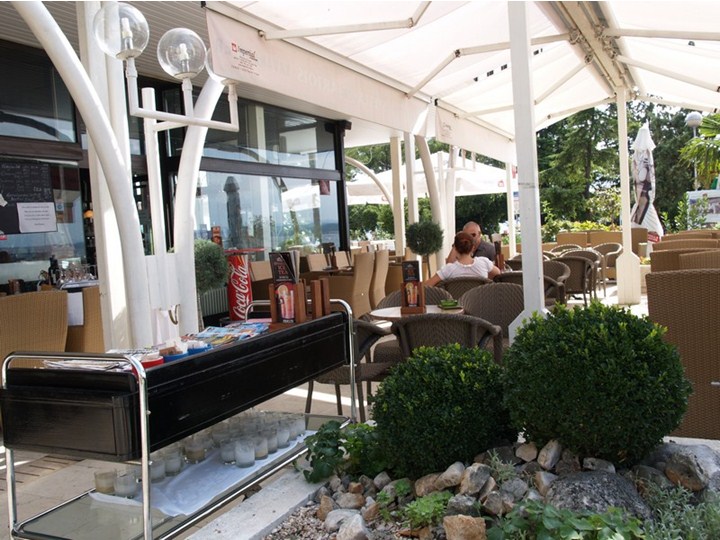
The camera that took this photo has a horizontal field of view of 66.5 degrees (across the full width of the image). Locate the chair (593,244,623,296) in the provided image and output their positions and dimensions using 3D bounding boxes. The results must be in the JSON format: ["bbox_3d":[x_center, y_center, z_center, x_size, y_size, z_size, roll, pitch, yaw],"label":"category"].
[{"bbox_3d":[4.850,-0.013,10.836,0.557,0.771,0.616,8,-3,-4],"label":"chair"}]

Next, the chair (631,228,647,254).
[{"bbox_3d":[6.470,-0.693,12.690,0.311,0.570,1.734,-2,5,27],"label":"chair"}]

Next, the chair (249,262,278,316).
[{"bbox_3d":[-1.082,0.194,5.986,0.309,0.596,0.594,0,3,-1],"label":"chair"}]

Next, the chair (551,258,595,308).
[{"bbox_3d":[3.056,0.163,7.872,0.457,0.619,0.470,0,7,11],"label":"chair"}]

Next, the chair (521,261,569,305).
[{"bbox_3d":[1.660,0.117,4.914,0.449,0.512,0.462,-1,-2,30],"label":"chair"}]

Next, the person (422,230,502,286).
[{"bbox_3d":[1.239,-0.143,6.891,0.878,1.196,0.371,0,15,3],"label":"person"}]

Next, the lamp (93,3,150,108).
[{"bbox_3d":[-1.213,-1.094,2.816,0.258,0.524,0.182,-2,4,25],"label":"lamp"}]

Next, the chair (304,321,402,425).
[{"bbox_3d":[-0.122,0.724,4.046,0.607,0.794,0.573,0,6,14],"label":"chair"}]

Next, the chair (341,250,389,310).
[{"bbox_3d":[0.100,0.170,8.038,0.290,0.554,0.918,3,5,15],"label":"chair"}]

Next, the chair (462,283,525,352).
[{"bbox_3d":[1.063,0.347,4.556,0.479,0.607,0.453,1,9,16],"label":"chair"}]

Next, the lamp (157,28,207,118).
[{"bbox_3d":[-0.971,-1.055,3.044,0.253,0.535,0.247,-16,22,-39],"label":"lamp"}]

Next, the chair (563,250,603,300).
[{"bbox_3d":[3.097,0.162,7.881,0.508,0.659,0.517,-6,5,12],"label":"chair"}]

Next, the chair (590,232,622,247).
[{"bbox_3d":[5.942,-0.739,13.325,0.464,0.299,0.475,4,9,29],"label":"chair"}]

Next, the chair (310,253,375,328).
[{"bbox_3d":[-0.228,0.221,8.218,0.699,0.946,0.693,3,6,16],"label":"chair"}]
